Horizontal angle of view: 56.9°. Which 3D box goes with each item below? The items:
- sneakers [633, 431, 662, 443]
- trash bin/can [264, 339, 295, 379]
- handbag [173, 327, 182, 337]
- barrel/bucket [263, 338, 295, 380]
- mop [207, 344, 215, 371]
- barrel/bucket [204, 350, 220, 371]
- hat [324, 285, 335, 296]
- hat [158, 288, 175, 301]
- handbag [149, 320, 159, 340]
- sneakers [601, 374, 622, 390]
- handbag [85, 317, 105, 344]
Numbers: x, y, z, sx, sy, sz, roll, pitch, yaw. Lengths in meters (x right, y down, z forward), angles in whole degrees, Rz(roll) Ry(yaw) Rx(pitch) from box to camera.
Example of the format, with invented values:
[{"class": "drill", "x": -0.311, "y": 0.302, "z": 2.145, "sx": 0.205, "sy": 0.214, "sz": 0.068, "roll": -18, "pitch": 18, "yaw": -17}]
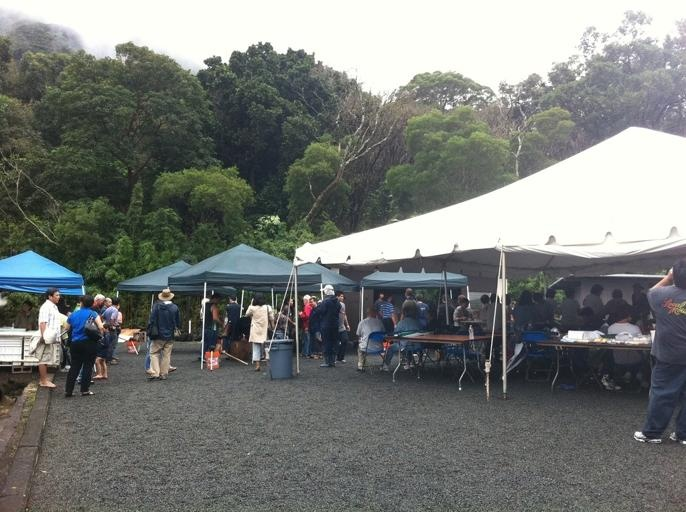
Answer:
[{"class": "sneakers", "x": 4.434, "y": 2.604, "z": 9.241, "sx": 0.339, "sy": 0.169, "sz": 0.161, "roll": 5, "pitch": -1, "yaw": 28}, {"class": "trash bin/can", "x": -1.379, "y": 2.272, "z": 14.026, "sx": 0.522, "sy": 0.868, "sz": 0.534, "roll": -2, "pitch": 8, "yaw": -11}, {"class": "handbag", "x": -3.704, "y": 1.687, "z": 14.250, "sx": 0.188, "sy": 0.174, "sz": 0.728, "roll": 11, "pitch": -15, "yaw": -10}, {"class": "barrel/bucket", "x": -1.357, "y": 2.313, "z": 14.207, "sx": 0.772, "sy": 0.810, "sz": 0.743, "roll": 0, "pitch": -13, "yaw": 0}, {"class": "mop", "x": -3.225, "y": 2.543, "z": 15.429, "sx": 0.182, "sy": 0.412, "sz": 0.379, "roll": -2, "pitch": 8, "yaw": -12}, {"class": "barrel/bucket", "x": -3.244, "y": 2.582, "z": 15.740, "sx": 0.373, "sy": 0.605, "sz": 0.435, "roll": -5, "pitch": -6, "yaw": 28}, {"class": "hat", "x": -0.340, "y": 0.818, "z": 15.366, "sx": 0.261, "sy": 0.299, "sz": 0.843, "roll": -1, "pitch": 7, "yaw": -4}, {"class": "hat", "x": -3.964, "y": 0.871, "z": 14.172, "sx": 0.250, "sy": 0.289, "sz": 0.511, "roll": -1, "pitch": 7, "yaw": -8}, {"class": "handbag", "x": -4.126, "y": 1.596, "z": 13.791, "sx": 0.243, "sy": 0.486, "sz": 0.106, "roll": -3, "pitch": 8, "yaw": -20}, {"class": "sneakers", "x": 5.306, "y": 2.471, "z": 12.562, "sx": 0.238, "sy": 0.151, "sz": 0.331, "roll": 3, "pitch": 19, "yaw": -24}, {"class": "handbag", "x": -4.760, "y": 1.410, "z": 12.077, "sx": 0.180, "sy": 0.400, "sz": 0.427, "roll": -19, "pitch": -45, "yaw": 1}]
